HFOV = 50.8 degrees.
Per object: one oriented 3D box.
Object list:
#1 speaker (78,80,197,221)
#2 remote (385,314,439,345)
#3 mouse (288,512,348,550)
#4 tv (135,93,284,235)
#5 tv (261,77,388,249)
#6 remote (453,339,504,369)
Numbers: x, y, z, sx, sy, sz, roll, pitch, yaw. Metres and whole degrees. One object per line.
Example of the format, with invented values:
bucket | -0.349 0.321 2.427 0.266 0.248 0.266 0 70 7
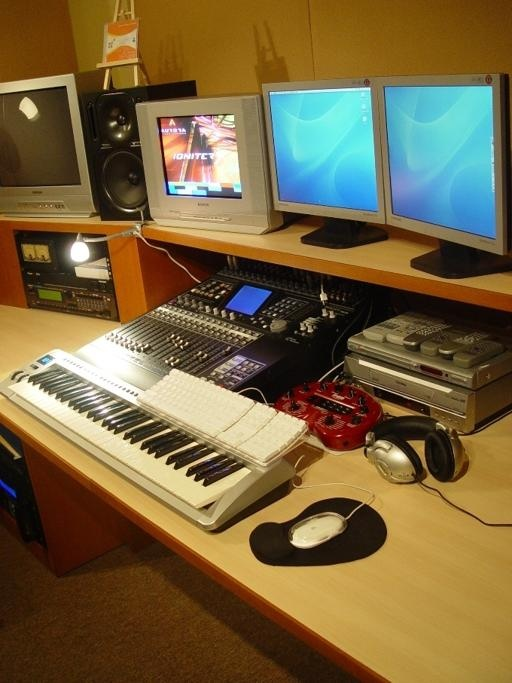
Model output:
speaker | -0.422 -0.701 1.967 0.317 0.414 0.349 -1 27 2
remote | 0.367 -0.038 1.293 0.091 0.021 0.093 -22 19 -14
mouse | 0.099 0.308 0.881 0.096 0.027 0.061 -12 17 -28
tv | -0.124 -0.533 1.599 0.432 0.338 0.235 11 32 35
tv | 0.195 -0.464 1.385 0.149 0.394 0.395 -27 32 -32
remote | 0.460 0.022 1.127 0.120 0.024 0.048 -23 27 -31
